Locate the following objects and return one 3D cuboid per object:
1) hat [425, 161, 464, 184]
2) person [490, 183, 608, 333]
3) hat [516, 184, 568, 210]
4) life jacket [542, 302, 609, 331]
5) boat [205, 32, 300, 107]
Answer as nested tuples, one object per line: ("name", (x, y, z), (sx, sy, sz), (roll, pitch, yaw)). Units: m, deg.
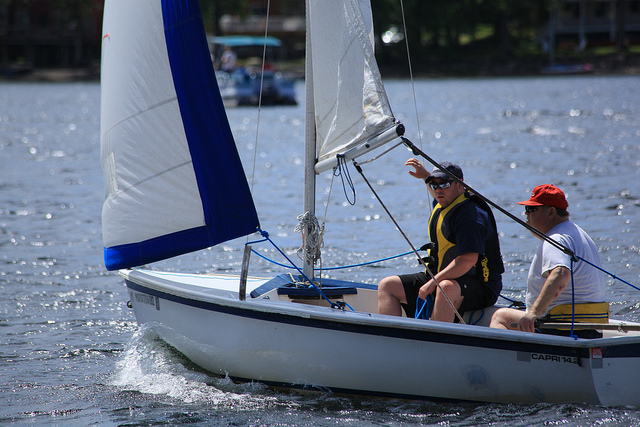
("hat", (1.602, -0.534, 21.200), (0.410, 0.181, 0.272), (6, -6, -29))
("person", (2.943, 0.574, 20.760), (1.318, 1.849, 0.485), (-1, 7, 8))
("hat", (2.835, -0.182, 20.975), (0.673, 0.302, 0.425), (-2, -7, 15))
("life jacket", (3.234, 1.323, 20.772), (0.822, 0.356, 0.171), (-1, 6, 3))
("boat", (-1.417, -3.919, 44.926), (1.858, 1.757, 5.586), (1, 7, -1))
